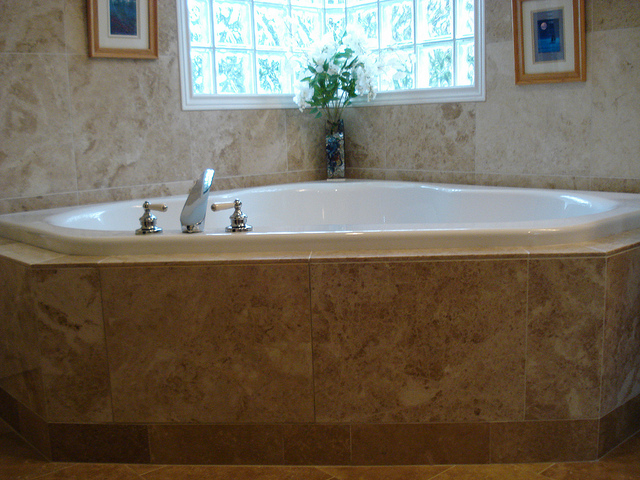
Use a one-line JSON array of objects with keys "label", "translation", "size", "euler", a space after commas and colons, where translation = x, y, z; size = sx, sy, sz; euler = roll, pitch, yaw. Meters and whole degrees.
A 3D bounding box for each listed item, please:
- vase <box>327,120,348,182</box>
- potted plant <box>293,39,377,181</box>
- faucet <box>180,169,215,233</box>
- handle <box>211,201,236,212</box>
[{"label": "vase", "translation": [0.078, -0.560, 3.455], "size": [0.159, 0.381, 0.164], "euler": [0, 9, 20]}, {"label": "potted plant", "translation": [0.081, -0.756, 3.349], "size": [0.476, 0.800, 0.308], "euler": [0, 5, -5]}, {"label": "faucet", "translation": [-0.426, -0.133, 1.952], "size": [0.105, 0.216, 0.176], "euler": [-1, 5, -17]}, {"label": "handle", "translation": [-0.331, -0.110, 1.905], "size": [0.029, 0.032, 0.127], "euler": [-9, -3, 42]}]
